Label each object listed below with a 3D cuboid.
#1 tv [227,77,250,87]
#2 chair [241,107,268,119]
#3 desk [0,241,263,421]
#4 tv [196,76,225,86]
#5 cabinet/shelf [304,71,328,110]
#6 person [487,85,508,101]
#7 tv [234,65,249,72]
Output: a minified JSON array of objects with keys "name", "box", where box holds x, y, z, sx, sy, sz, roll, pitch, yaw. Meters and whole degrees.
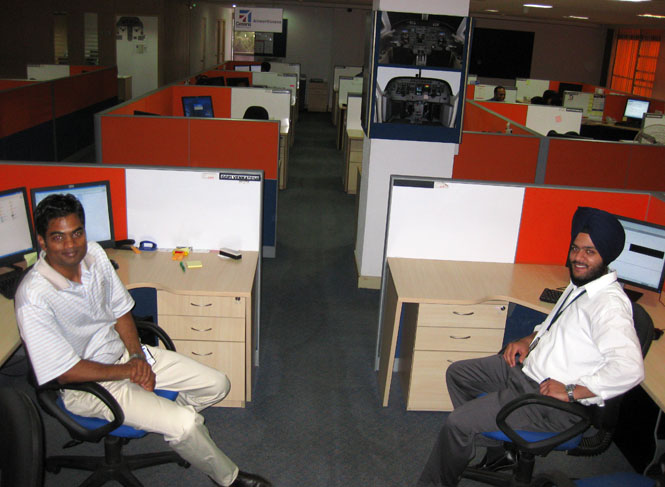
[{"name":"tv","box":[-1.745,-2.976,9.814,0.476,0.177,0.749,-2,19,-3]},{"name":"chair","box":[-1.009,-1.751,7.123,0.261,0.146,0.474,-3,18,-20]},{"name":"desk","box":[-1.113,0.415,3.516,1.158,0.983,1.161,1,13,6]},{"name":"tv","box":[-2.124,-2.771,9.033,0.393,0.148,0.898,4,16,3]},{"name":"cabinet/shelf","box":[-0.440,-4.207,15.149,0.670,0.894,0.815,1,17,-7]},{"name":"person","box":[2.688,-2.420,8.589,0.176,0.233,0.934,7,17,15]},{"name":"tv","box":[-1.879,-3.664,11.148,0.301,0.119,0.995,0,17,-10]}]
